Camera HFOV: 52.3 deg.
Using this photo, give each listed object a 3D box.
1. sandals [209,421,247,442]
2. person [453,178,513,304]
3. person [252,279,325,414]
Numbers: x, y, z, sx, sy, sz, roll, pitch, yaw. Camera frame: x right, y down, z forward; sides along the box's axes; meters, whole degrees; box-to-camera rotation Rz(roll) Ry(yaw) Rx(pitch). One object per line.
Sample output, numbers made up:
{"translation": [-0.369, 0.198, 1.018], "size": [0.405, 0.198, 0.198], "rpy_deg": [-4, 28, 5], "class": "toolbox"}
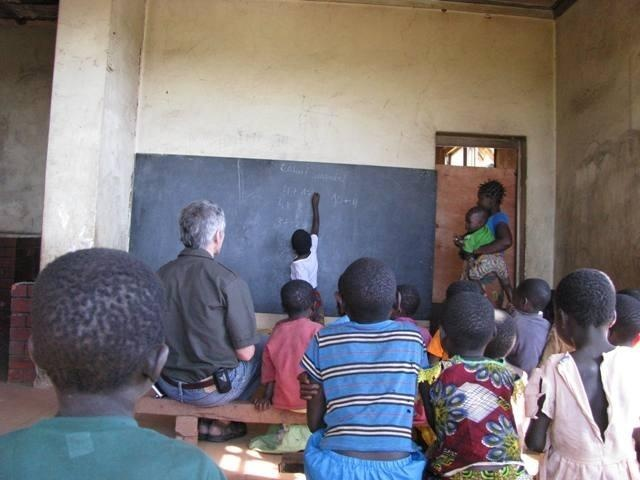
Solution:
{"translation": [-0.591, 1.239, 4.266], "size": [0.091, 0.102, 0.251], "rpy_deg": [0, -2, 44], "class": "sandals"}
{"translation": [1.435, 0.077, 5.611], "size": [0.492, 1.120, 0.517], "rpy_deg": [-9, 13, -38], "class": "person"}
{"translation": [-0.122, 0.647, 4.110], "size": [0.561, 0.807, 0.468], "rpy_deg": [0, 8, 1], "class": "person"}
